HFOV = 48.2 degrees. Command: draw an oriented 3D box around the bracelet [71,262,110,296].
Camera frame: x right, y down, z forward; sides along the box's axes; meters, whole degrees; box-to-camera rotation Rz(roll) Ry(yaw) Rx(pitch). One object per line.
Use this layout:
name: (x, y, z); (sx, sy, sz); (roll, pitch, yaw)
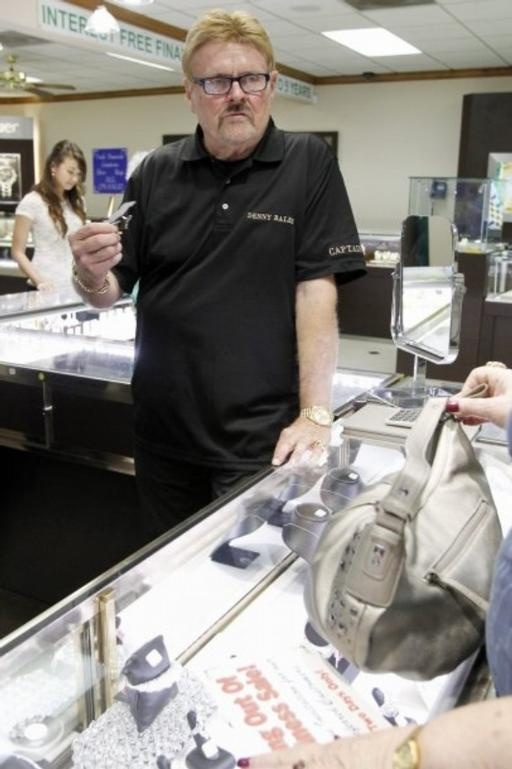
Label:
bracelet: (-0.383, -0.238, 1.330); (0.061, 0.072, 0.027); (4, -18, -14)

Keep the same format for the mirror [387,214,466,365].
mirror: (0.393, -0.220, 1.304); (0.056, 0.323, 0.187); (-17, 23, -34)

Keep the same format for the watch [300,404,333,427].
watch: (0.116, 0.059, 1.092); (0.049, 0.034, 0.053); (29, -23, -17)

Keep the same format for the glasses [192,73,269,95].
glasses: (-0.048, -0.630, 1.201); (0.130, 0.054, 0.030); (4, 14, -3)
